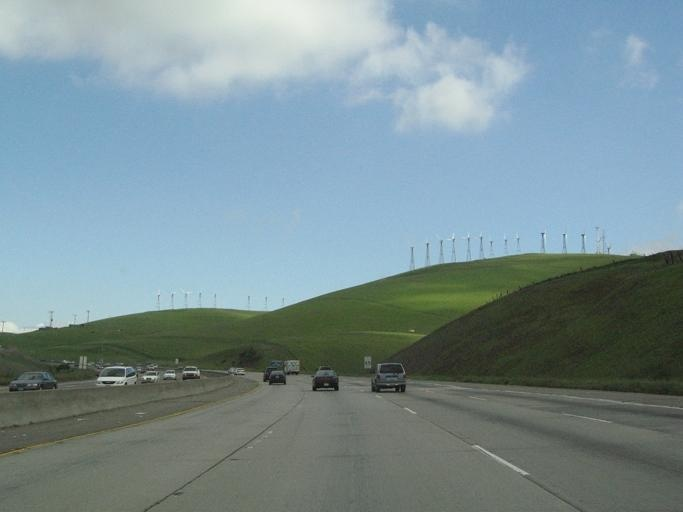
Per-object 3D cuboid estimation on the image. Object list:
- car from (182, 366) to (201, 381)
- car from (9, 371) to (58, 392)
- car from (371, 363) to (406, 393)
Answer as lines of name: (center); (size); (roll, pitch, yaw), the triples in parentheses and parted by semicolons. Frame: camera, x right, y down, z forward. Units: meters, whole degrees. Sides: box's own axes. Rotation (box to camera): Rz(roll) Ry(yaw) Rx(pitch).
car: (-14.588, 11.031, 86.161); (1.216, 1.144, 2.388); (-1, -17, -3)
car: (-17.944, 7.352, 52.606); (1.437, 1.279, 3.350); (-2, -17, 3)
car: (2.723, 7.128, 52.493); (1.238, 1.230, 2.311); (0, -2, -3)
